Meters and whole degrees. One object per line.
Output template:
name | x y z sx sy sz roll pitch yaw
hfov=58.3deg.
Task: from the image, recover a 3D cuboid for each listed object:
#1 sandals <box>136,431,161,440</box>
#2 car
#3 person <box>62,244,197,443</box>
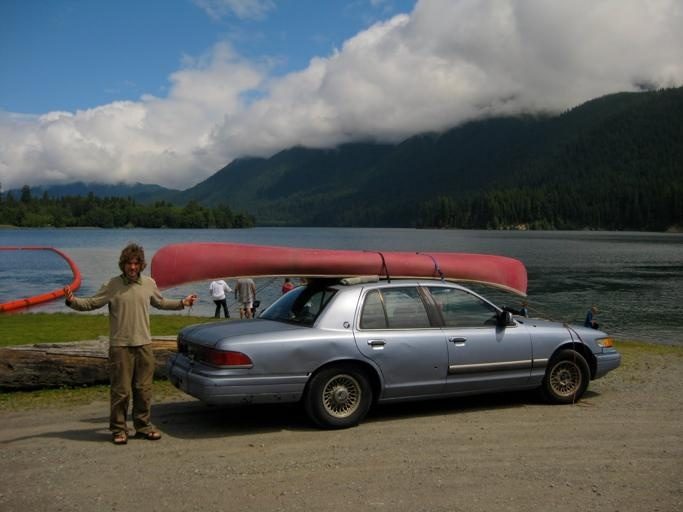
sandals | -2.546 2.402 8.161 0.314 0.137 0.133 0 5 -6
car | 0.741 1.423 9.541 5.480 1.557 2.525 -2 0 -21
person | -2.835 1.150 8.240 1.343 2.602 0.735 0 4 -15
